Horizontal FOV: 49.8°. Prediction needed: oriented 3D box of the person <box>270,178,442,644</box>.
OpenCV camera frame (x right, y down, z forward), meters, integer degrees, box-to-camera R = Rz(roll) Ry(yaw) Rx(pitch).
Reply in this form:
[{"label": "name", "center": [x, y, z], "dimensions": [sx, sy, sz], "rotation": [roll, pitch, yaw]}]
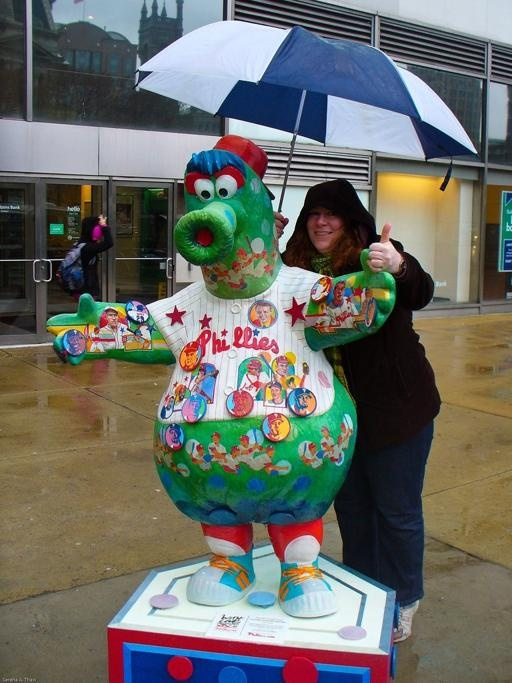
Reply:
[{"label": "person", "center": [0.347, 0.368, 2.024], "dimensions": [0.572, 1.869, 0.902], "rotation": [5, 9, 21]}]
